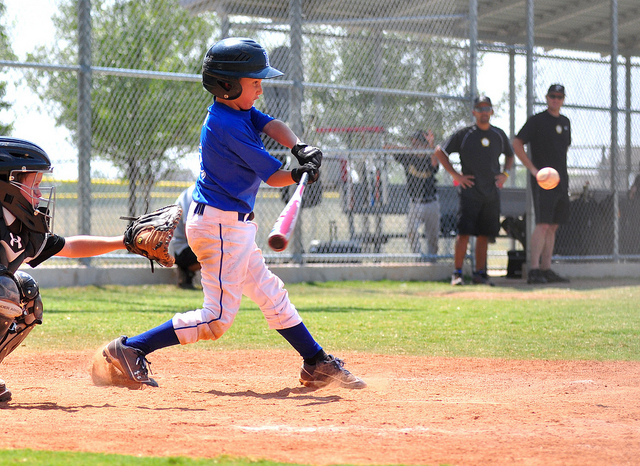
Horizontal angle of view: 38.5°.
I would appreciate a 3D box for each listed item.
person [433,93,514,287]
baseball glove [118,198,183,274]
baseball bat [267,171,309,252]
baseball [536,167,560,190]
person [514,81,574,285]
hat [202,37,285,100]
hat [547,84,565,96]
[{"bbox_3d":[1.941,-0.529,11.534,0.966,2.393,0.484,0,8,5],"label":"person"},{"bbox_3d":[-1.355,-0.016,6.749,0.214,0.490,0.615,6,-7,42],"label":"baseball glove"},{"bbox_3d":[-0.179,-0.227,6.841,0.169,0.156,0.914,18,48,10],"label":"baseball bat"},{"bbox_3d":[2.725,-0.672,11.033,0.258,0.247,0.250,-17,21,-12],"label":"baseball"},{"bbox_3d":[2.810,-0.611,11.596,0.703,2.583,1.401,2,8,14],"label":"person"},{"bbox_3d":[-0.592,-1.283,6.947,0.630,0.442,0.427,3,22,1],"label":"hat"},{"bbox_3d":[2.951,-1.816,11.494,0.205,0.118,0.150,1,8,6],"label":"hat"}]
